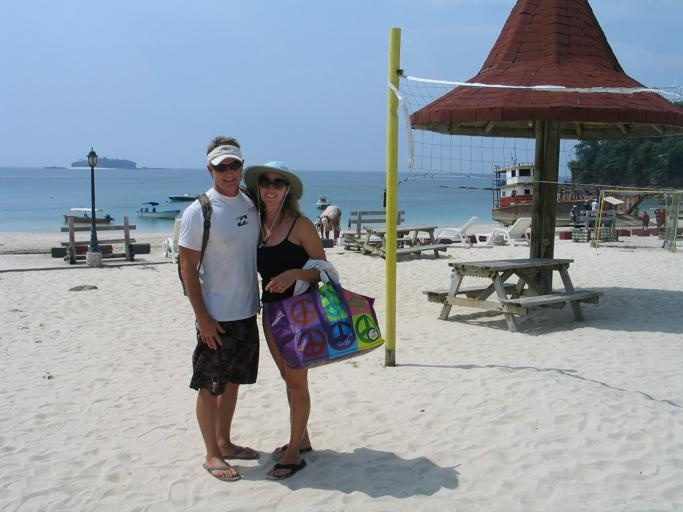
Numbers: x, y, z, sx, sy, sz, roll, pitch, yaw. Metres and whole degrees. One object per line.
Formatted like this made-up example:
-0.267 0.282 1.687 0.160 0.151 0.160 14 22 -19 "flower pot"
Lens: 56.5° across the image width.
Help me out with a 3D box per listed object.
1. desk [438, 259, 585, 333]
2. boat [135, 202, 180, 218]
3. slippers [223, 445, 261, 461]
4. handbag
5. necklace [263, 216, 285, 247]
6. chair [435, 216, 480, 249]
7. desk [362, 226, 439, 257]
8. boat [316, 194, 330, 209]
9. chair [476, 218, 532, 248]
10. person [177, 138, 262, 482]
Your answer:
2.297 0.706 8.562 1.334 0.603 1.229 -6 6 -37 "desk"
-16.183 -3.983 54.827 2.905 1.177 14.435 -5 10 -18 "boat"
-0.769 1.521 4.880 0.244 0.058 0.112 2 14 10 "slippers"
-0.132 0.341 4.616 0.809 0.872 0.351 -10 -5 -21 "handbag"
-0.509 -0.176 4.623 0.050 0.190 0.149 16 3 -7 "necklace"
3.575 -0.800 19.933 1.095 0.979 2.833 0 10 8 "chair"
1.693 -0.350 16.929 1.264 0.505 1.567 -1 5 -9 "desk"
-1.664 -4.766 56.763 1.135 1.366 3.528 -1 5 -1 "boat"
5.133 -0.686 20.556 1.187 0.949 2.199 -5 10 -40 "chair"
-0.869 0.390 4.642 0.412 2.462 0.585 4 12 30 "person"
